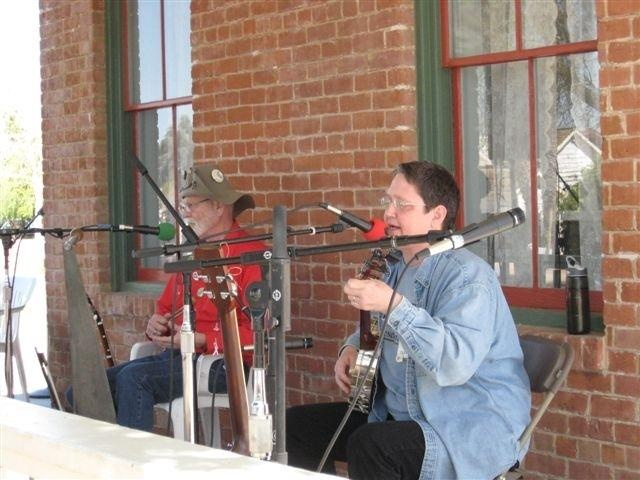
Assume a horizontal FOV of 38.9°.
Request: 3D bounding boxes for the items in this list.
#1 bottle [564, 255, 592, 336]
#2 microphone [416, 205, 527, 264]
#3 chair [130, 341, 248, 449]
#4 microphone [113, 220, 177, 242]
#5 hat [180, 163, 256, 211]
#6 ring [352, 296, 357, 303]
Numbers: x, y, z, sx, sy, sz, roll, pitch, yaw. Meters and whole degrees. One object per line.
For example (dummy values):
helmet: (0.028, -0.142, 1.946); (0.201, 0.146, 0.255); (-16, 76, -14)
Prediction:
bottle: (1.365, 0.312, 4.734); (0.149, 0.358, 0.106); (0, -2, -9)
microphone: (0.740, -0.022, 4.350); (0.547, 0.106, 0.119); (-22, -4, -29)
chair: (-0.744, 0.937, 5.243); (0.575, 0.873, 0.584); (1, -1, -44)
microphone: (-1.083, -0.064, 5.644); (0.432, 0.140, 0.115); (8, 3, -28)
hat: (-0.652, -0.306, 5.474); (0.294, 0.211, 0.323); (-10, -3, 24)
ring: (0.153, 0.264, 4.031); (0.019, 0.031, 0.010); (0, 0, 31)
